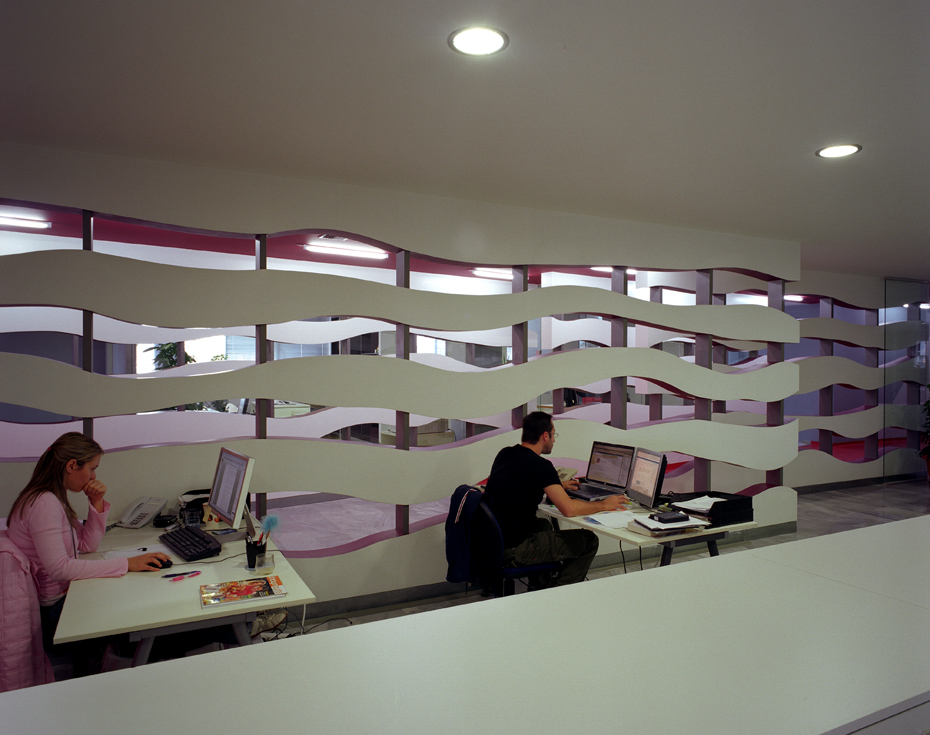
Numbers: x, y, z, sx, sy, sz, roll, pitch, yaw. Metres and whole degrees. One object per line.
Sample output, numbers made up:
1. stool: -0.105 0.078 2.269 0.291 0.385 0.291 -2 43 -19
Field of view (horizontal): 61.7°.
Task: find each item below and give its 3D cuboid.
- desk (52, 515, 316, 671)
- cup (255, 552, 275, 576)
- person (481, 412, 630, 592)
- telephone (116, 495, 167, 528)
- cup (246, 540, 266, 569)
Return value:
1. desk: -1.013 0.912 2.804 0.797 0.385 0.628 -2 8 -25
2. cup: -0.751 0.746 2.946 0.067 0.064 0.065 1 -6 0
3. person: 0.451 0.814 4.040 0.816 1.130 0.729 4 10 15
4. telephone: -1.483 0.668 3.563 0.140 0.040 0.138 3 30 14
5. cup: -0.790 0.706 2.946 0.092 0.106 0.090 0 -3 0
